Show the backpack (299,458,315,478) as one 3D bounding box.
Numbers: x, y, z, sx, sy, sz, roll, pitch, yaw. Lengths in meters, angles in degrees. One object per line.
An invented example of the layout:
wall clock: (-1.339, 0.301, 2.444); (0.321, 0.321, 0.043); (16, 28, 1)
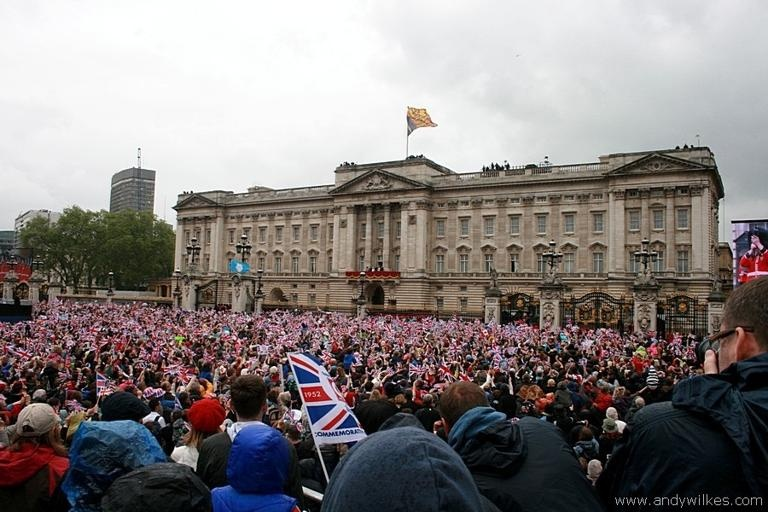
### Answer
backpack: (-1.276, 3.510, 14.029); (0.226, 0.281, 0.249); (1, -6, -6)

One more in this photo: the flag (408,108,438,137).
flag: (2.837, -11.036, 69.567); (1.472, 2.230, 2.146); (-1, -6, 14)

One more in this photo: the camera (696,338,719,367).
camera: (4.131, 1.199, 10.854); (0.249, 0.324, 0.336); (19, 30, 2)

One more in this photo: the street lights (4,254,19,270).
street lights: (-25.479, 0.479, 57.648); (0.993, 1.287, 0.942); (0, -10, -12)

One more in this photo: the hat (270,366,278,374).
hat: (-2.657, 2.766, 20.426); (0.158, 0.115, 0.131); (-40, -53, 20)
